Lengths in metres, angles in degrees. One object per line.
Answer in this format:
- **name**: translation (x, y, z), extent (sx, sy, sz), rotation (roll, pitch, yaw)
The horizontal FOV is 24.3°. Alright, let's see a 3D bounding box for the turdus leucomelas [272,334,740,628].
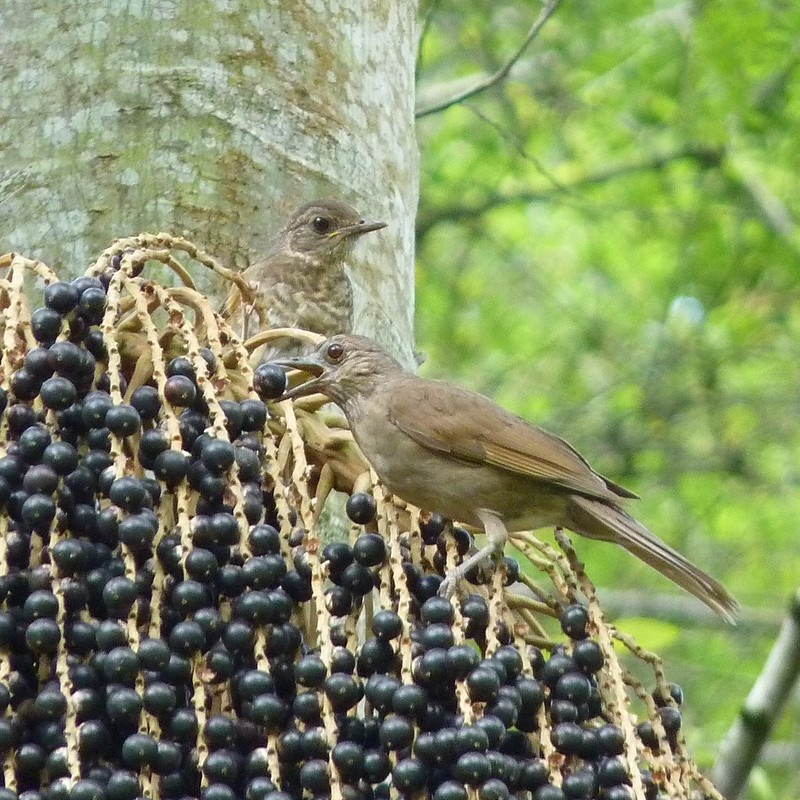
- **turdus leucomelas**: translation (0.279, 0.172, 4.646), extent (1.115, 0.623, 0.344), rotation (5, -20, -7)
